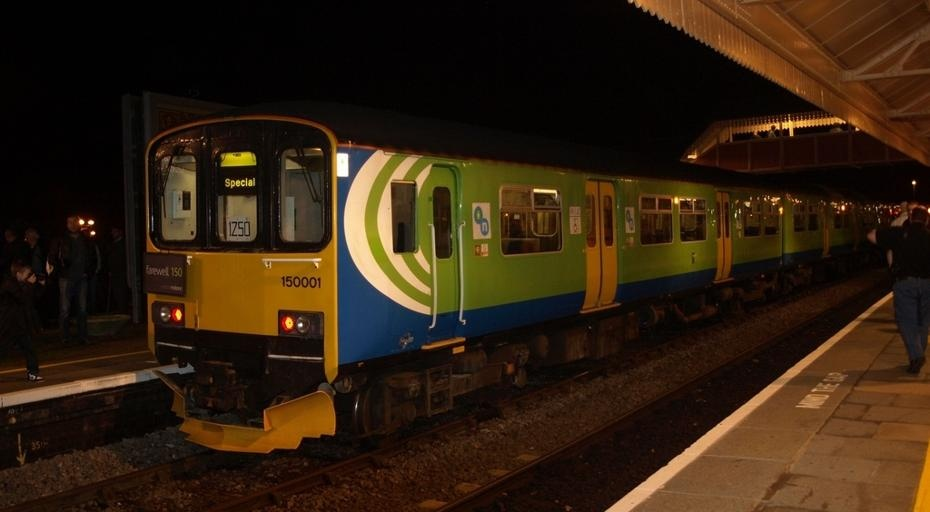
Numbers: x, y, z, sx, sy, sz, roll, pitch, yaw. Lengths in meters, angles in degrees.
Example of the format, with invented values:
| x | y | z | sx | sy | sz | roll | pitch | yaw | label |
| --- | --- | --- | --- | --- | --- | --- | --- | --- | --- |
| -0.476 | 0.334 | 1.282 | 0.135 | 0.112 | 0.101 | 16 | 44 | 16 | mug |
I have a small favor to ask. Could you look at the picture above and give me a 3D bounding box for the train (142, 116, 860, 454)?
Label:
| x | y | z | sx | sy | sz | roll | pitch | yaw | label |
| --- | --- | --- | --- | --- | --- | --- | --- | --- | --- |
| 5.229 | -0.115 | 20.497 | 4.369 | 4.835 | 26.847 | 0 | 1 | 38 | train |
